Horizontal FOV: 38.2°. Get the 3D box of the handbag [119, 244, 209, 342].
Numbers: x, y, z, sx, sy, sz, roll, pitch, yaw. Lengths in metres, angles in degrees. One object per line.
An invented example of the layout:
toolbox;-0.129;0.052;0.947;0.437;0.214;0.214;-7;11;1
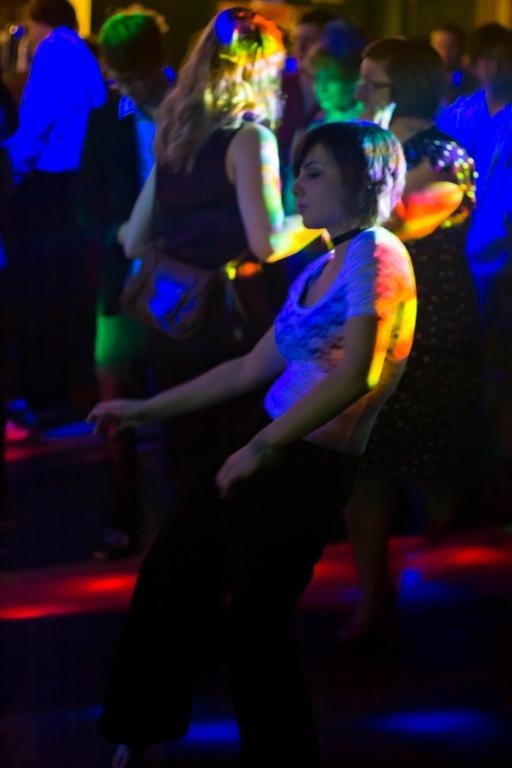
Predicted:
handbag;-0.174;-0.167;1.229;0.044;0.164;0.178;-13;58;-20
